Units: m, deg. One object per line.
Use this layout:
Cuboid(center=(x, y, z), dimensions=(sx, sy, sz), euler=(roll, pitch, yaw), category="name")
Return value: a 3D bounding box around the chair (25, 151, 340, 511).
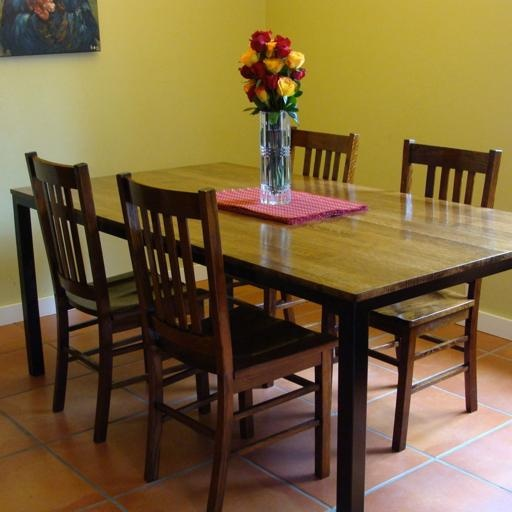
Cuboid(center=(-0.249, 0.277, 1.683), dimensions=(0.367, 0.813, 0.955), euler=(-9, 16, -35), category="chair")
